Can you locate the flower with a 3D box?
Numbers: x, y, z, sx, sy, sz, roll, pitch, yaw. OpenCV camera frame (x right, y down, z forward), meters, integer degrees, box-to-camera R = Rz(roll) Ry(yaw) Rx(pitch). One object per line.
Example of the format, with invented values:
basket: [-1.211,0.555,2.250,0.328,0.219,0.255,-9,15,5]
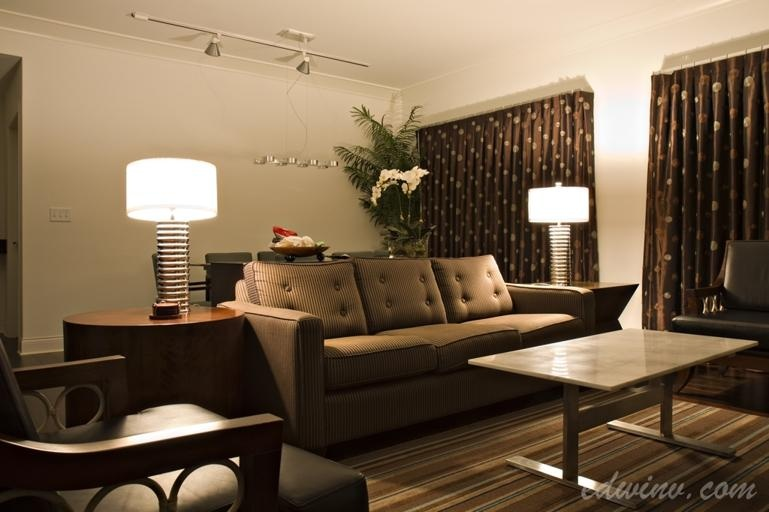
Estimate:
flower: [0.029,-1.274,8.164,1.196,1.765,1.042,5,14,21]

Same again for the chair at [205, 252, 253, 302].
chair: [-1.391,0.192,4.999,0.278,0.347,0.519,0,2,6]

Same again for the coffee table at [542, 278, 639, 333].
coffee table: [1.916,0.407,5.010,0.471,0.370,0.517,-2,3,-45]

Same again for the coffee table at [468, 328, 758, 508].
coffee table: [1.353,0.669,3.318,1.620,0.679,0.889,-2,1,-41]

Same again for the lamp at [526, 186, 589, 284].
lamp: [1.663,-0.201,5.421,0.576,0.879,0.577,0,-2,27]

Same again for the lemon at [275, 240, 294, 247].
lemon: [-0.715,-0.098,4.045,0.143,0.060,0.040,1,13,6]

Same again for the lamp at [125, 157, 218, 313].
lamp: [-1.284,-0.123,3.488,0.528,0.939,0.297,-5,14,-20]

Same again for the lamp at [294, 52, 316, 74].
lamp: [-0.864,-2.107,6.224,0.257,0.121,0.501,9,42,-11]
